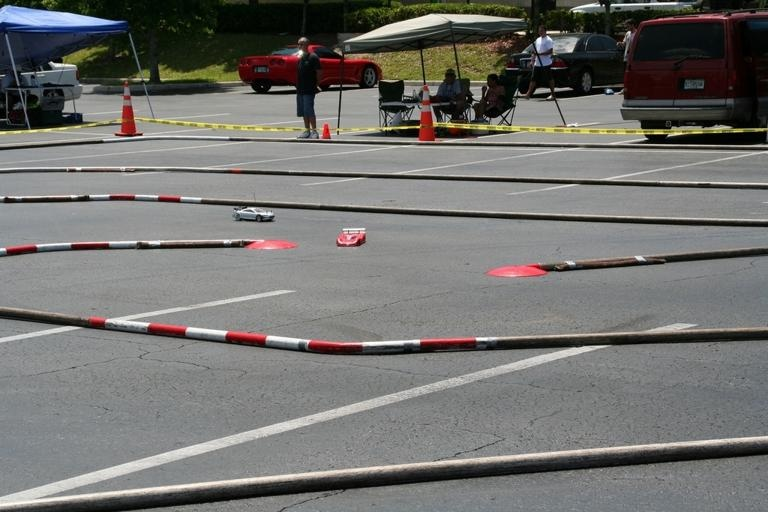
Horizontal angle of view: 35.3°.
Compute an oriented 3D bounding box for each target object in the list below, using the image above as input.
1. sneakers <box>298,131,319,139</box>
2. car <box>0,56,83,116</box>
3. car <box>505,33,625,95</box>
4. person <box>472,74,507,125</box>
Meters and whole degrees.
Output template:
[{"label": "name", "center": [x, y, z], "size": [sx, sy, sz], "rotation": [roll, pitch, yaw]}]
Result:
[{"label": "sneakers", "center": [-1.530, -2.507, 25.059], "size": [0.417, 0.119, 0.187], "rotation": [3, 4, 12]}, {"label": "car", "center": [-8.587, -4.397, 31.393], "size": [3.068, 1.070, 1.396], "rotation": [-3, 3, -24]}, {"label": "car", "center": [5.399, -5.393, 34.256], "size": [2.094, 1.124, 4.817], "rotation": [8, 15, 40]}, {"label": "person", "center": [2.326, -3.394, 26.154], "size": [0.573, 1.048, 1.239], "rotation": [-4, 12, -5]}]
